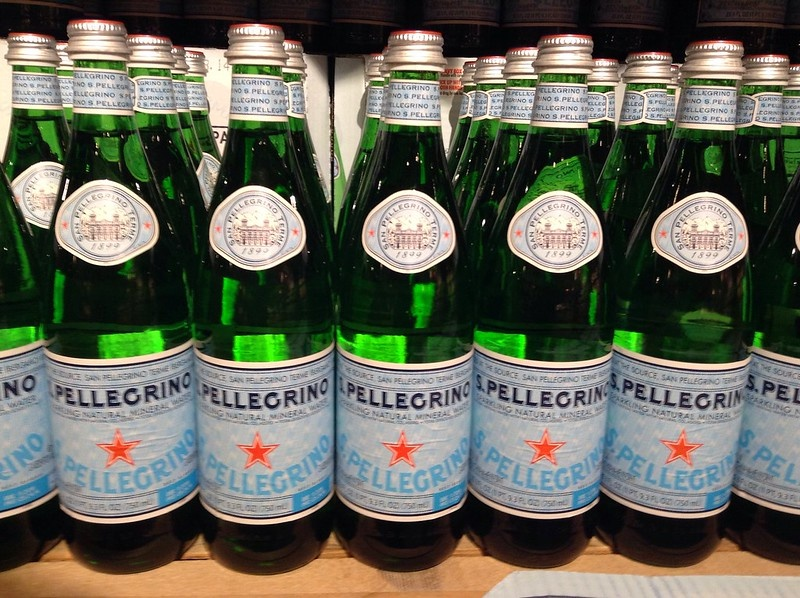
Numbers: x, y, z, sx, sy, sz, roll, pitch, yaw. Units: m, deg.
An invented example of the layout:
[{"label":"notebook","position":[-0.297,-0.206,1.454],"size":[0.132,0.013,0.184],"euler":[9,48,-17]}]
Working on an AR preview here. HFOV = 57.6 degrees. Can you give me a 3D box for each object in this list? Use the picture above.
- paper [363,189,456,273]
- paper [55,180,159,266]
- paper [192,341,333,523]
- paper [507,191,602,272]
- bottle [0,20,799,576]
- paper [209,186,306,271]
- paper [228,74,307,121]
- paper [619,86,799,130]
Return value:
[{"label":"paper","position":[0.012,-0.077,0.855],"size":[0.112,0.095,0.013],"euler":[2,1,15]},{"label":"paper","position":[-0.338,-0.089,0.835],"size":[0.120,0.092,0.025],"euler":[1,8,-19]},{"label":"paper","position":[-0.168,0.166,0.949],"size":[0.193,0.177,0.176],"euler":[-2,0,-7]},{"label":"paper","position":[0.185,-0.082,0.868],"size":[0.109,0.093,0.033],"euler":[0,16,6]},{"label":"bottle","position":[0.005,0.026,0.908],"size":[0.794,0.154,0.499],"euler":[4,18,8]},{"label":"paper","position":[-0.169,-0.085,0.851],"size":[0.109,0.093,0.045],"euler":[-4,16,-10]},{"label":"paper","position":[-0.159,-0.238,0.852],"size":[0.065,0.041,0.062],"euler":[-12,20,-41]},{"label":"paper","position":[0.413,-0.248,0.950],"size":[0.149,0.051,0.245],"euler":[7,16,28]}]
